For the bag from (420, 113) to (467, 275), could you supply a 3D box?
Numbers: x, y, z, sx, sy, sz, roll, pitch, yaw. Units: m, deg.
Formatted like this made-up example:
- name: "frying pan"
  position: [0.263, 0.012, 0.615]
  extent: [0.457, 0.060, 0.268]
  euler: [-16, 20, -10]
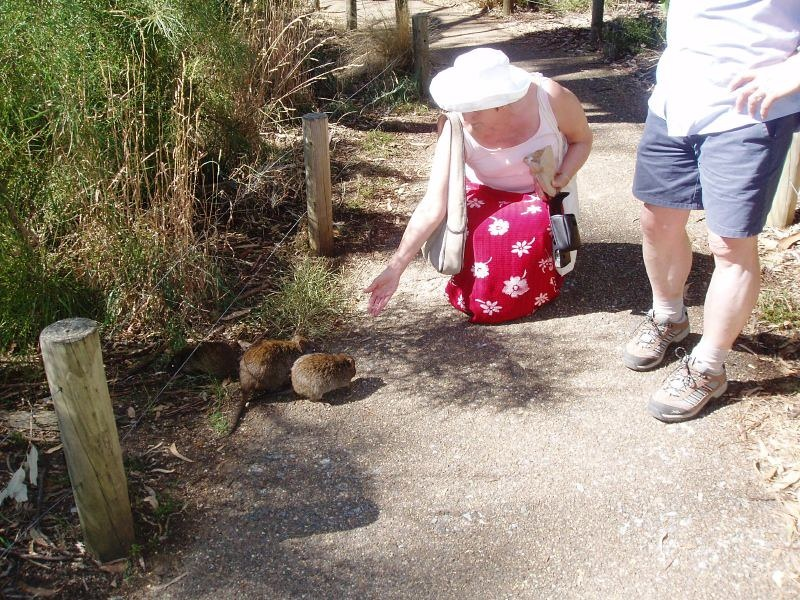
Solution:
- name: "bag"
  position: [0.262, -0.614, 4.094]
  extent: [0.267, 0.921, 0.266]
  euler: [-2, 26, 3]

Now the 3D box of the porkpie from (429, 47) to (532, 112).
- name: "porkpie"
  position: [0.455, -1.223, 3.840]
  extent: [0.561, 0.321, 0.414]
  euler: [2, 29, 10]

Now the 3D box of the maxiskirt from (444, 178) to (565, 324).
- name: "maxiskirt"
  position: [0.765, -0.291, 4.307]
  extent: [0.560, 0.660, 0.399]
  euler: [-26, 35, -35]

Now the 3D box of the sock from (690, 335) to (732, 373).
- name: "sock"
  position: [1.565, 0.273, 3.474]
  extent: [0.227, 0.146, 0.124]
  euler: [-39, 18, 46]

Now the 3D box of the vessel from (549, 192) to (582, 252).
- name: "vessel"
  position: [0.992, -0.474, 4.100]
  extent: [0.174, 0.304, 0.335]
  euler: [-2, 28, 3]

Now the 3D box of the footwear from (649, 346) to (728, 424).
- name: "footwear"
  position: [1.467, 0.477, 3.577]
  extent: [0.469, 0.243, 0.234]
  euler: [-38, 46, 5]

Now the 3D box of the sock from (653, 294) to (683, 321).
- name: "sock"
  position: [1.499, 0.047, 3.786]
  extent: [0.109, 0.158, 0.156]
  euler: [-5, -2, 1]

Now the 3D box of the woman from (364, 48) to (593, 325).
- name: "woman"
  position: [0.555, -0.660, 4.226]
  extent: [0.837, 1.753, 1.688]
  euler: [22, 51, 36]

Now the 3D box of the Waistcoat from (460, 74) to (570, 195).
- name: "Waistcoat"
  position: [0.680, -0.986, 3.979]
  extent: [0.486, 0.659, 0.392]
  euler: [-16, 52, 26]

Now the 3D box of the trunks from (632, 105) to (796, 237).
- name: "trunks"
  position: [1.526, -0.630, 3.292]
  extent: [0.390, 0.721, 0.730]
  euler: [-14, 28, -24]
